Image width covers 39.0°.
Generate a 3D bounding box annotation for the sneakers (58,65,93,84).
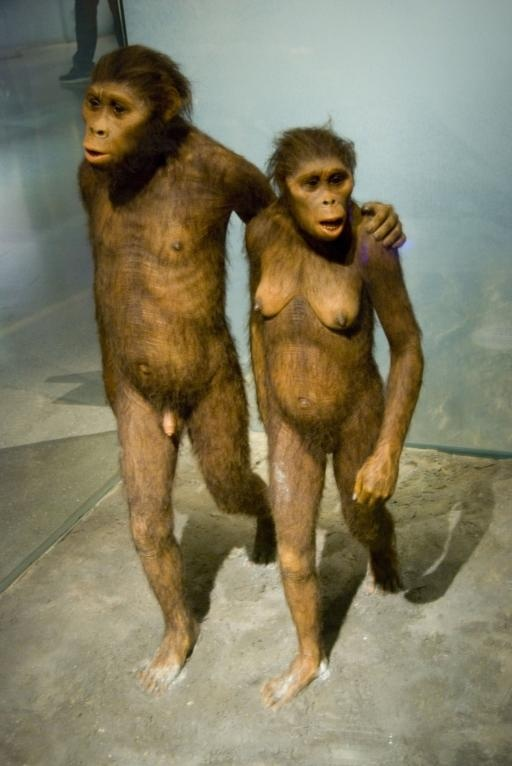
[{"bbox_3d":[-0.930,-1.607,3.774,0.173,0.083,0.143,5,31,11],"label":"sneakers"}]
